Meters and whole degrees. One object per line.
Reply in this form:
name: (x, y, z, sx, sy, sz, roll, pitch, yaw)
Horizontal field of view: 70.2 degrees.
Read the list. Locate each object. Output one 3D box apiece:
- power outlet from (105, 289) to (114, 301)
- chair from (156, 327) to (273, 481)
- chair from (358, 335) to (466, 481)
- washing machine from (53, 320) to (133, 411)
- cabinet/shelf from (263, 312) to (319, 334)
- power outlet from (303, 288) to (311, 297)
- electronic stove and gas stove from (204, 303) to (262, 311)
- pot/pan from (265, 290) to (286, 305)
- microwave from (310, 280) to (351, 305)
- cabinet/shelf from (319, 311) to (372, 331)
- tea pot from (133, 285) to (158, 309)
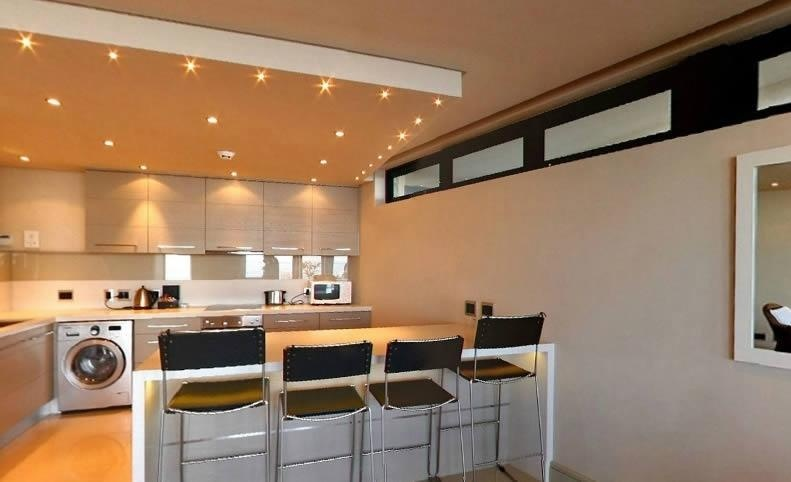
power outlet: (-3.550, 0.683, 6.977, 0.156, 0.145, 0.084, 1, -2, -41)
chair: (-1.421, 1.334, 4.450, 0.871, 1.280, 0.468, 1, -5, -13)
chair: (0.187, 1.428, 4.707, 0.809, 1.263, 0.591, 0, -5, -3)
washing machine: (-3.559, 1.446, 6.641, 0.858, 0.976, 0.843, 1, -4, -40)
cabinet/shelf: (-1.320, 1.034, 7.188, 0.721, 0.224, 0.120, 2, -5, -25)
power outlet: (-1.219, 0.714, 7.879, 0.087, 0.097, 0.093, -1, -8, 11)
electronic stove and gas stove: (-2.082, 0.858, 7.301, 0.692, 0.060, 0.527, 1, -5, -15)
pot/pan: (-1.646, 0.765, 7.665, 0.215, 0.132, 0.205, -2, 5, -40)
microwave: (-0.882, 0.724, 7.758, 0.559, 0.320, 0.147, 1, -5, -12)
cabinet/shelf: (-0.644, 1.035, 7.419, 0.674, 0.225, 0.161, 1, -5, -7)
tea pot: (-3.127, 0.710, 7.047, 0.214, 0.279, 0.258, 0, -5, 2)
